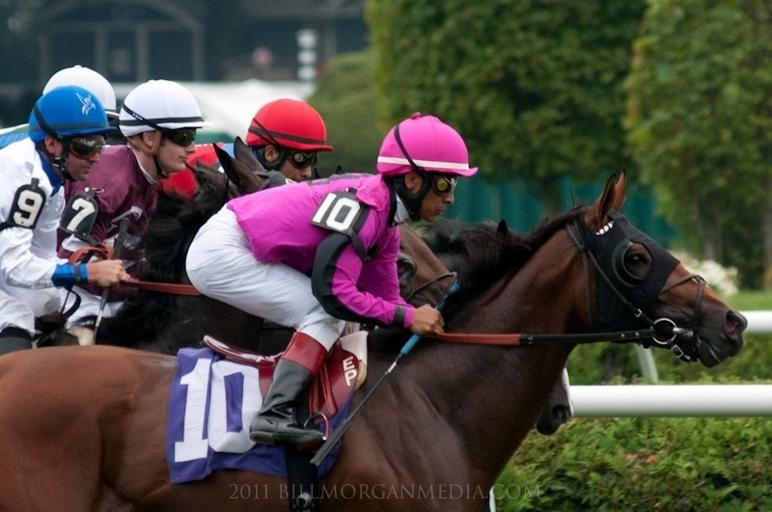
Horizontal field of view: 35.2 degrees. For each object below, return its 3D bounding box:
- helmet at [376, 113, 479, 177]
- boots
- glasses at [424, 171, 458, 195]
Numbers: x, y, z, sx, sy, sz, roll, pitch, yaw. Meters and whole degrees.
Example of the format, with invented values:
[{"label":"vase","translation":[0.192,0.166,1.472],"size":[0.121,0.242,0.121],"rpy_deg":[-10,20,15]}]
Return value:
[{"label":"helmet","translation":[0.238,-0.618,6.929],"size":[0.486,0.326,0.348],"rpy_deg":[-1,1,-2]},{"label":"boots","translation":[-0.543,0.752,6.807],"size":[0.438,0.610,0.230],"rpy_deg":[-2,8,-7]},{"label":"glasses","translation":[0.321,-0.425,6.956],"size":[0.152,0.071,0.118],"rpy_deg":[30,24,29]}]
